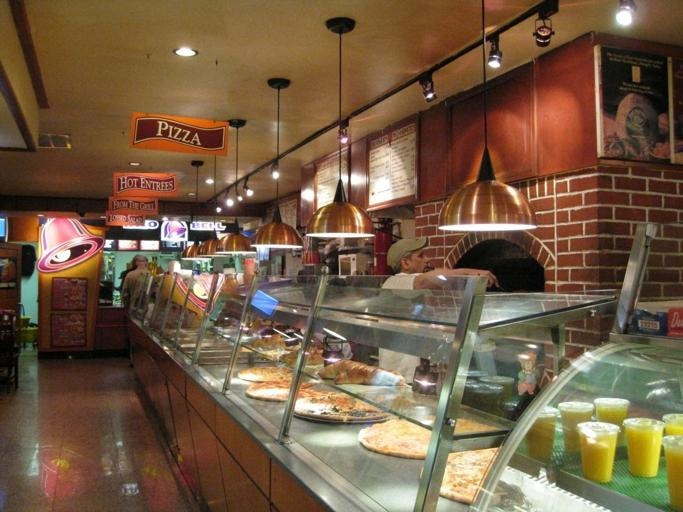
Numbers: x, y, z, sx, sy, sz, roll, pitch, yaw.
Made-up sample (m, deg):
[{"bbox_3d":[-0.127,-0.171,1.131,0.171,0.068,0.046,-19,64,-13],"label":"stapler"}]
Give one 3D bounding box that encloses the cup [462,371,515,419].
[{"bbox_3d":[0.502,0.456,1.697,0.168,0.160,0.162,5,2,0],"label":"cup"}]
